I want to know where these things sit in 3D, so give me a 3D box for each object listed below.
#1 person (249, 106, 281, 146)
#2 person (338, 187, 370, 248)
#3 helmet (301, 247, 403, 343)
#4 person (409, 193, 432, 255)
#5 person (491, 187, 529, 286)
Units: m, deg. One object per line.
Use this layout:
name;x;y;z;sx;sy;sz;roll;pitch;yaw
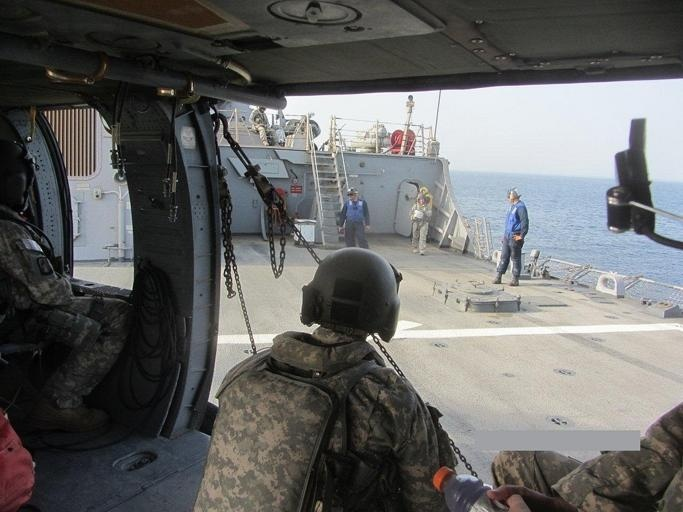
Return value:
person;-2.337;-4.101;14.809;1.045;1.132;1.621;1;11;-12
person;0.315;-0.977;12.087;0.751;1.523;0.848;4;11;1
helmet;0.091;0.154;2.448;0.491;0.378;0.475;14;19;10
person;2.191;-0.990;13.217;0.507;1.805;0.880;5;11;8
person;3.642;-0.385;10.041;0.571;2.104;0.629;13;14;39
